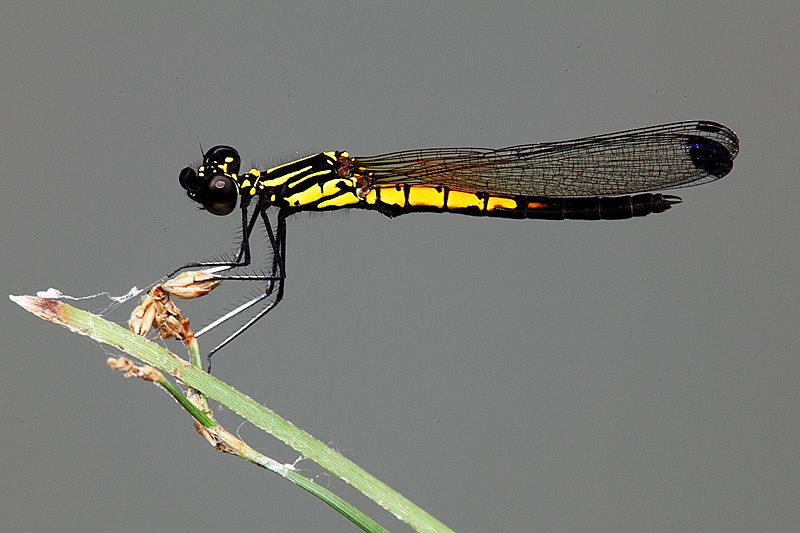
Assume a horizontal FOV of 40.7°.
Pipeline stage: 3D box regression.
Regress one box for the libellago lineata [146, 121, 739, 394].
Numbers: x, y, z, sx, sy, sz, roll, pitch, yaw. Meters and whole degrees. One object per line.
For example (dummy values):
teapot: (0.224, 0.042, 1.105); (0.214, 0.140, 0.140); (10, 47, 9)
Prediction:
libellago lineata: (0.482, -0.307, 10.431); (5.541, 2.153, 2.001); (-6, 87, -5)
